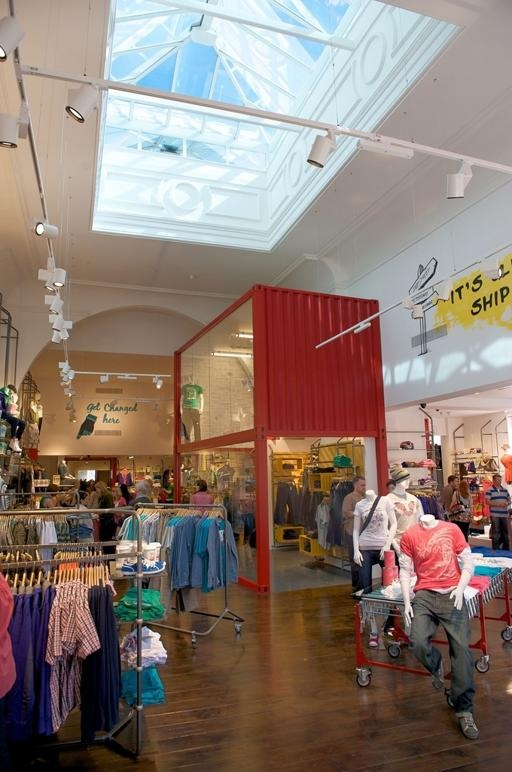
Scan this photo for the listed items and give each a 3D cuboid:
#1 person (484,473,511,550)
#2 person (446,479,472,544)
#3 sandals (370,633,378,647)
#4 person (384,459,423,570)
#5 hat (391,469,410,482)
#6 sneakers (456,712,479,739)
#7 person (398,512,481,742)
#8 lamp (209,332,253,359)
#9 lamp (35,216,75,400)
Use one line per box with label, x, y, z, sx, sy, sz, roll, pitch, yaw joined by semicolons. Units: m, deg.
person;4.118;2.173;8.632;0.357;1.270;0.568;-7;-14;23
person;3.716;2.384;9.127;0.416;1.311;0.394;-5;5;-10
sandals;0.944;2.081;4.091;0.046;0.067;0.142;-3;-18;9
person;1.527;1.489;5.122;0.397;1.371;0.348;-6;20;10
hat;1.636;1.043;5.785;0.133;0.096;0.172;-18;-12;-3
sneakers;1.077;1.753;2.588;0.067;0.104;0.113;-3;-13;4
person;1.042;1.331;2.922;0.433;1.103;0.504;-10;-16;33
lamp;-0.328;-0.603;8.114;0.104;0.315;1.556;-2;0;-25
lamp;-3.833;-1.509;9.748;0.482;3.515;0.597;-6;22;-8
